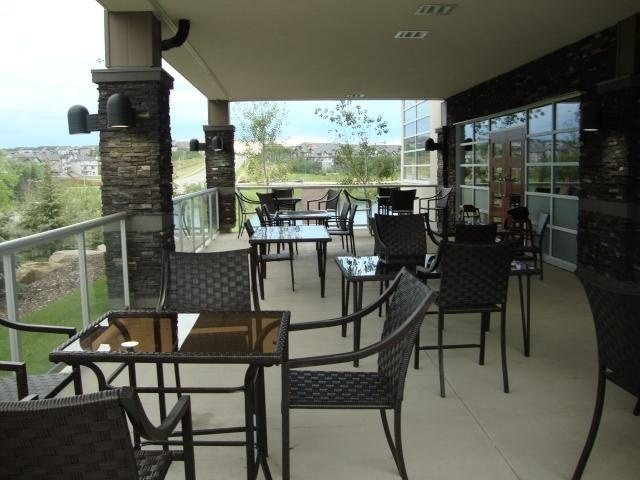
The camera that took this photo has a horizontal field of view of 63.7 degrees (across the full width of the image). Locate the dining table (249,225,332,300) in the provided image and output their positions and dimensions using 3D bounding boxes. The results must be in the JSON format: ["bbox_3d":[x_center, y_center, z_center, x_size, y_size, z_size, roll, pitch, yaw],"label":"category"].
[{"bbox_3d":[-0.249,0.262,5.912,1.032,0.588,0.923,-2,11,-2],"label":"dining table"}]

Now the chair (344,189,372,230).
[{"bbox_3d":[0.731,-0.672,10.596,0.628,0.662,0.444,4,7,0],"label":"chair"}]

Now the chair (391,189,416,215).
[{"bbox_3d":[1.483,-0.745,9.576,0.490,0.641,0.460,0,15,2],"label":"chair"}]

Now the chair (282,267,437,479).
[{"bbox_3d":[0.159,0.709,2.800,0.744,1.065,0.743,0,11,-4],"label":"chair"}]
